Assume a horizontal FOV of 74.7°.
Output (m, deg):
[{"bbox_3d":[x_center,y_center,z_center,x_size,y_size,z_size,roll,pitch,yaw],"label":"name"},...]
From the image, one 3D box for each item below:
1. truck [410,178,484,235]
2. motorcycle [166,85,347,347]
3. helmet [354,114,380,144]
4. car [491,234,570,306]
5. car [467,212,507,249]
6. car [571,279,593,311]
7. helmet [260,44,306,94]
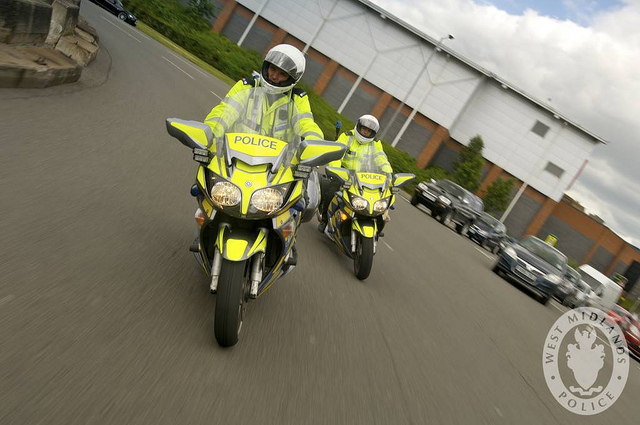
[{"bbox_3d":[8.296,-0.537,25.551,2.488,2.010,4.370,40,7,29],"label":"truck"},{"bbox_3d":[-0.864,0.013,4.537,1.507,2.570,1.194,33,21,25],"label":"motorcycle"},{"bbox_3d":[0.928,-1.657,8.268,0.442,0.576,0.585,21,21,3],"label":"helmet"},{"bbox_3d":[8.450,2.115,16.527,2.212,2.168,3.714,37,22,29],"label":"car"},{"bbox_3d":[10.232,0.899,25.326,2.986,1.552,1.639,0,31,-48],"label":"car"},{"bbox_3d":[12.036,3.823,19.162,1.040,1.054,1.935,13,15,31],"label":"car"},{"bbox_3d":[-0.378,-1.695,4.676,0.437,0.508,0.581,-4,-9,-6],"label":"helmet"}]
